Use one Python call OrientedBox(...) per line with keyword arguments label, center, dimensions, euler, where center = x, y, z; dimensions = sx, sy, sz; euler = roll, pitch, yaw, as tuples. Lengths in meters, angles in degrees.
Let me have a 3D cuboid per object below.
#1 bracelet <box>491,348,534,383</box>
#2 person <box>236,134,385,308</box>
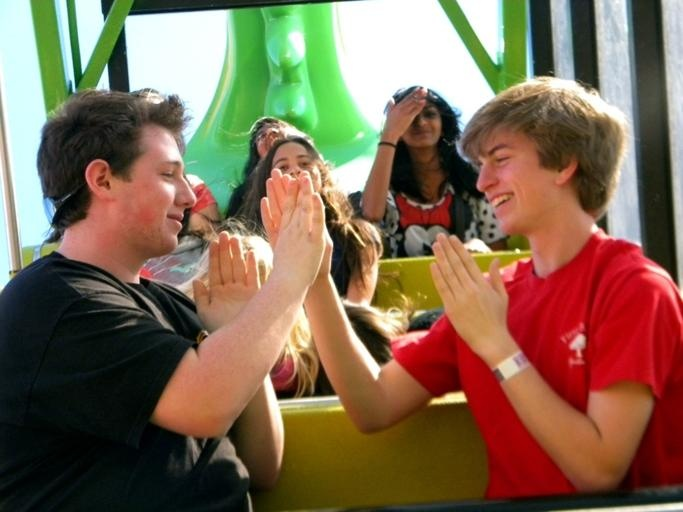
OrientedBox(label="bracelet", center=(0.440, 0.284, 1.726), dimensions=(0.086, 0.067, 0.026), euler=(-32, -20, 4))
OrientedBox(label="person", center=(-0.235, -0.125, 3.695), dimensions=(0.376, 0.994, 0.747), euler=(-27, -39, 15))
